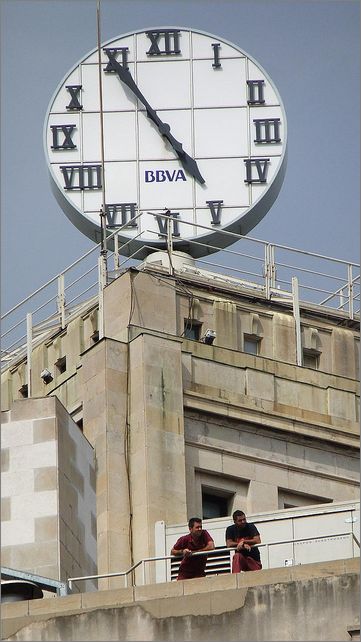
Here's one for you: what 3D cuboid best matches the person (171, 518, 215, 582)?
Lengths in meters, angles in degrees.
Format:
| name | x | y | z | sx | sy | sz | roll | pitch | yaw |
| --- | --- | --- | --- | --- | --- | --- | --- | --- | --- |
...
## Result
| name | x | y | z | sx | sy | sz | roll | pitch | yaw |
| --- | --- | --- | --- | --- | --- | --- | --- | --- | --- |
| person | 0.217 | 4.777 | 48.760 | 0.858 | 1.424 | 0.994 | -4 | -20 | 2 |
